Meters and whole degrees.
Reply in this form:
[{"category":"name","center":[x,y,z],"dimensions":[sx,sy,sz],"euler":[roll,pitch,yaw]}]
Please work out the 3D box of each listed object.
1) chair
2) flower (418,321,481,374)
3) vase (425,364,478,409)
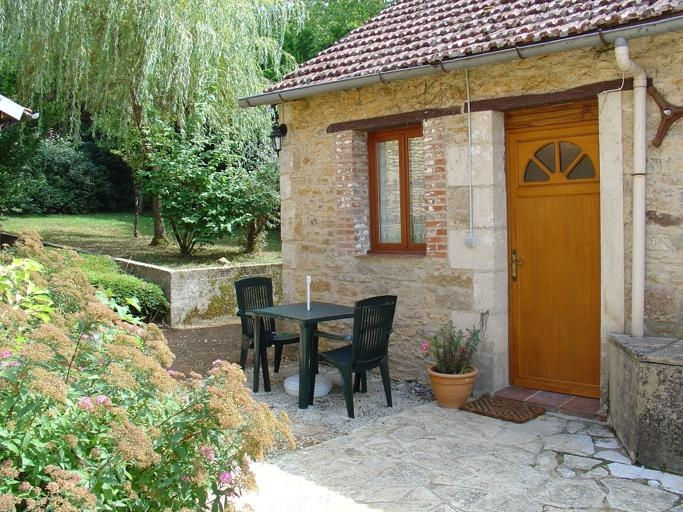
[{"category":"chair","center":[-0.517,0.942,6.225],"dimensions":[1.029,1.098,2.184],"euler":[-3,4,-43]},{"category":"flower","center":[1.140,0.975,5.811],"dimensions":[0.671,0.587,0.486],"euler":[-2,6,-26]},{"category":"vase","center":[1.141,1.342,5.622],"dimensions":[0.434,0.298,0.445],"euler":[2,3,42]}]
